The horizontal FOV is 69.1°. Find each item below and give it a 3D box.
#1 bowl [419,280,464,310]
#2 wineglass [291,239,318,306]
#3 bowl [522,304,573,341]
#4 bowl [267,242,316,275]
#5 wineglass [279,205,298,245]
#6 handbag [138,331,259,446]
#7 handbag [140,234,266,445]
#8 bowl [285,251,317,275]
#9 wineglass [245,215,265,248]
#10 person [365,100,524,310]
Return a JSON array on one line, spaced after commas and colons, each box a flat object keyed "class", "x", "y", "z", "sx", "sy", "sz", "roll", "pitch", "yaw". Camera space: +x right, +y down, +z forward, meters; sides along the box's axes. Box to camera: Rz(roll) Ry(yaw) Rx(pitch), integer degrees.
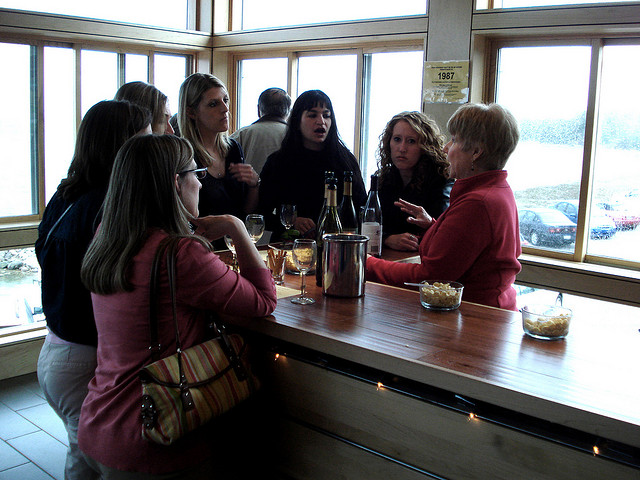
[{"class": "bowl", "x": 0.460, "y": 0.198, "z": 1.735, "sx": 0.140, "sy": 0.097, "sz": 0.155, "roll": 6, "pitch": 16, "yaw": 23}, {"class": "wineglass", "x": -0.061, "y": 0.108, "z": 1.767, "sx": 0.097, "sy": 0.235, "sz": 0.184, "roll": 2, "pitch": 15, "yaw": 7}, {"class": "bowl", "x": 0.735, "y": 0.253, "z": 1.491, "sx": 0.131, "sy": 0.073, "sz": 0.119, "roll": -2, "pitch": 3, "yaw": 18}, {"class": "bowl", "x": -0.101, "y": 0.063, "z": 2.071, "sx": 0.216, "sy": 0.087, "sz": 0.222, "roll": -4, "pitch": 8, "yaw": 1}, {"class": "wineglass", "x": -0.163, "y": -0.122, "z": 2.372, "sx": 0.074, "sy": 0.134, "sz": 0.164, "roll": 0, "pitch": 14, "yaw": -1}, {"class": "handbag", "x": -0.379, "y": 0.445, "z": 1.448, "sx": 0.148, "sy": 0.226, "sz": 0.401, "roll": 3, "pitch": 8, "yaw": 36}, {"class": "handbag", "x": -0.420, "y": 0.280, "z": 1.447, "sx": 0.169, "sy": 0.559, "sz": 0.474, "roll": -7, "pitch": 2, "yaw": 26}, {"class": "bowl", "x": -0.092, "y": 0.099, "z": 2.143, "sx": 0.119, "sy": 0.079, "sz": 0.113, "roll": 1, "pitch": 3, "yaw": 0}, {"class": "wineglass", "x": -0.304, "y": -0.052, "z": 2.126, "sx": 0.078, "sy": 0.140, "sz": 0.242, "roll": -3, "pitch": 14, "yaw": -9}, {"class": "person", "x": 0.551, "y": -0.121, "z": 1.913, "sx": 0.581, "sy": 0.849, "sz": 0.349, "roll": -3, "pitch": 15, "yaw": -9}]
